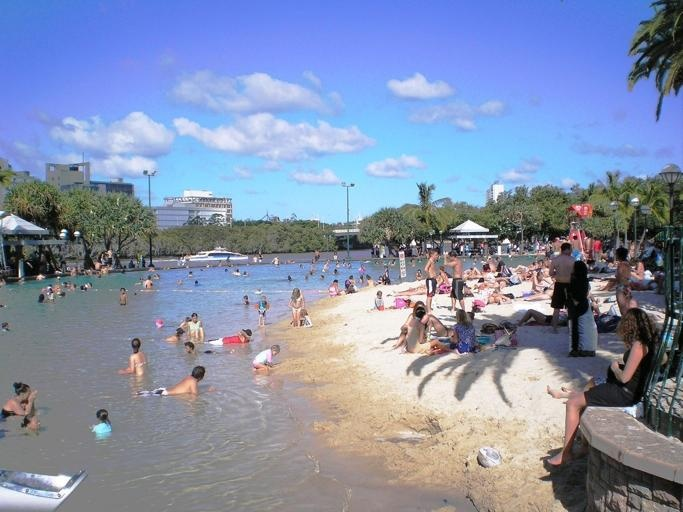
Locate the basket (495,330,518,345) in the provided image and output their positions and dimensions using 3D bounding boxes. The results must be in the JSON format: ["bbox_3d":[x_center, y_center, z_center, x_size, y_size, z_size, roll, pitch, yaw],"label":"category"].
[{"bbox_3d":[3.927,1.949,12.222,0.474,0.287,0.517,-3,4,-28],"label":"basket"}]
